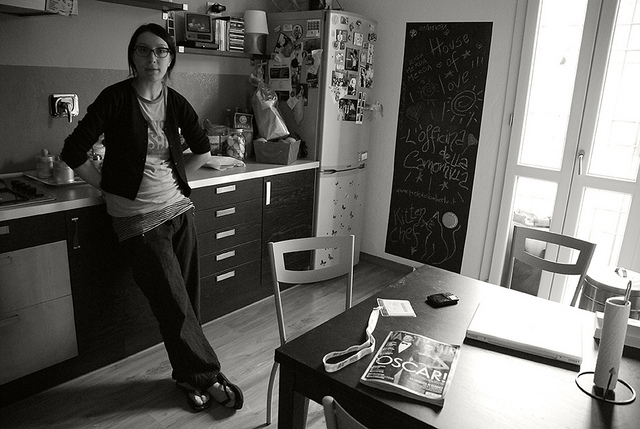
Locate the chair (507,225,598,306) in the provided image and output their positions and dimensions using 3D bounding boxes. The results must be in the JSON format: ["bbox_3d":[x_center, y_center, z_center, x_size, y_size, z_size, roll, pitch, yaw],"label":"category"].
[{"bbox_3d":[1.806,0.382,3.363,0.437,0.771,0.513,22,16,25],"label":"chair"}]

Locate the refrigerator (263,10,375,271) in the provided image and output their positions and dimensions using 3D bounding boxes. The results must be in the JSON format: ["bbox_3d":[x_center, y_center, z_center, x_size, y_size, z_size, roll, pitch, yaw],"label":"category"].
[{"bbox_3d":[0.003,-0.636,4.344,1.094,2.539,0.630,0,19,-8],"label":"refrigerator"}]

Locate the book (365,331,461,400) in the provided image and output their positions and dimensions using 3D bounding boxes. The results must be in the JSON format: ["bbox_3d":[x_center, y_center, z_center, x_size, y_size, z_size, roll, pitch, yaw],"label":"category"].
[{"bbox_3d":[0.396,0.655,1.898,0.226,0.034,0.250,10,27,22],"label":"book"}]

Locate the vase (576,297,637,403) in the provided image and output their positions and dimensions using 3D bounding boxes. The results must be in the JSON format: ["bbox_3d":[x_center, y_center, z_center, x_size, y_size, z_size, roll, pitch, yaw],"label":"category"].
[{"bbox_3d":[1.231,0.567,1.822,0.232,0.383,0.175,10,20,19],"label":"vase"}]

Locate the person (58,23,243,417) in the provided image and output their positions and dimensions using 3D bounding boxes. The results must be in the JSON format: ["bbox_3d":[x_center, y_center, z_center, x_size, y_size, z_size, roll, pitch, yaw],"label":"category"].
[{"bbox_3d":[-1.064,0.055,2.737,0.841,2.345,0.890,-8,22,-30],"label":"person"}]

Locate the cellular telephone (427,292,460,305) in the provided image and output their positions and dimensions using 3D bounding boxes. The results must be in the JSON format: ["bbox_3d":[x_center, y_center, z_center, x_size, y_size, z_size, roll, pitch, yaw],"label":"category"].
[{"bbox_3d":[0.664,0.444,2.363,0.181,0.023,0.102,-3,20,-18],"label":"cellular telephone"}]

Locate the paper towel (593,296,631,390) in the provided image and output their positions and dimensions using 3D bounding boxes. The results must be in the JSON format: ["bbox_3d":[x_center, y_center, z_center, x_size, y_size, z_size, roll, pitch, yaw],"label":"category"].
[{"bbox_3d":[1.247,0.538,1.877,0.119,0.362,0.213,17,23,36],"label":"paper towel"}]

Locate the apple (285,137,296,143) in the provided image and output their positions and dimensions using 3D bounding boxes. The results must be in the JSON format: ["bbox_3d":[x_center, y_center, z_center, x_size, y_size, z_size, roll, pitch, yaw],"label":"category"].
[{"bbox_3d":[-0.276,-0.684,4.001,0.075,0.041,0.075,0,14,-7],"label":"apple"}]
